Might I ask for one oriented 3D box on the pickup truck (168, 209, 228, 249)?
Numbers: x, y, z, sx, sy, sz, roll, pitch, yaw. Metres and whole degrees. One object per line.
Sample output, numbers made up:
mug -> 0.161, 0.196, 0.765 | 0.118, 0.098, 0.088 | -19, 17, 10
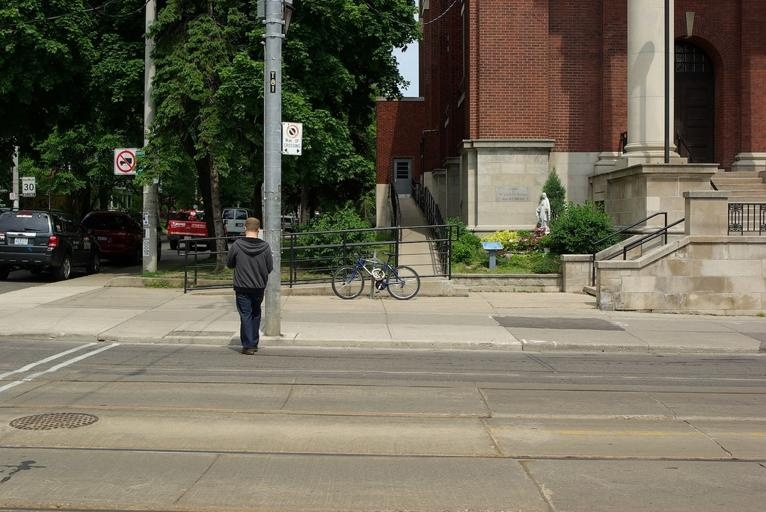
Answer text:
pickup truck -> -10.206, -1.542, 53.805 | 2.402, 1.556, 4.094 | -1, 5, -13

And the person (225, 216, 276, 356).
person -> -2.780, 0.603, 21.663 | 0.712, 2.821, 0.785 | -1, 4, 26

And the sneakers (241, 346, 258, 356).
sneakers -> -2.789, 1.955, 21.540 | 0.327, 0.139, 0.313 | -2, 3, -6
